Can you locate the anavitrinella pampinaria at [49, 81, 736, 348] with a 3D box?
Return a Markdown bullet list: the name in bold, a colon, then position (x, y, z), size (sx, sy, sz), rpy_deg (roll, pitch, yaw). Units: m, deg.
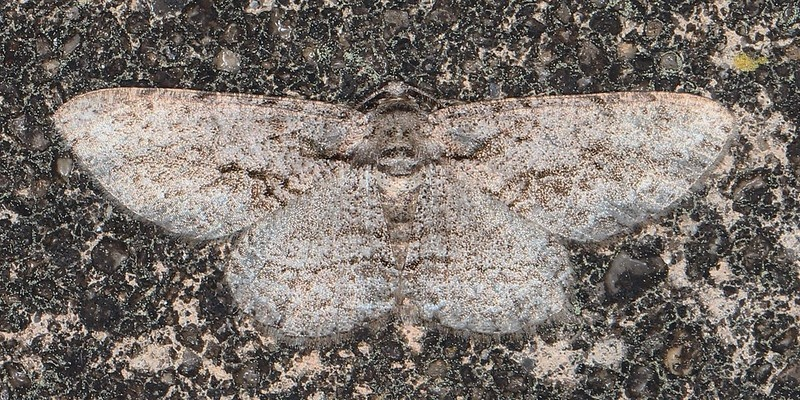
- **anavitrinella pampinaria**: position (0.109, 0.027, 6.053), size (3.205, 0.292, 1.148), rpy_deg (2, 94, 0)
